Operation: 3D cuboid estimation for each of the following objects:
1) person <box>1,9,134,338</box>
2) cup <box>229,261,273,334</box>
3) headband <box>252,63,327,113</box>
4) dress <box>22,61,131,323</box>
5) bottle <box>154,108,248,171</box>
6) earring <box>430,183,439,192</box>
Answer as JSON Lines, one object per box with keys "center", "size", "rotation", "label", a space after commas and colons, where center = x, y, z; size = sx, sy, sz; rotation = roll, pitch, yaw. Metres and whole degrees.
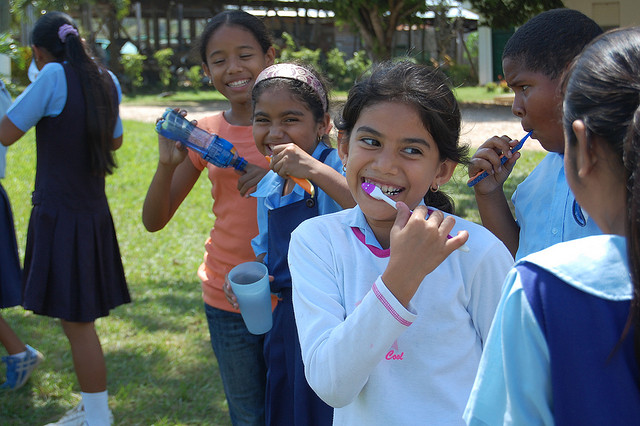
{"center": [-1.772, -0.288, 4.504], "size": [0.753, 2.132, 0.815], "rotation": [-4, 11, -29], "label": "person"}
{"center": [-0.334, 0.418, 3.279], "size": [0.199, 0.381, 0.262], "rotation": [-1, 0, -19], "label": "cup"}
{"center": [-0.159, -0.687, 3.553], "size": [0.402, 0.251, 0.146], "rotation": [1, 10, -3], "label": "headband"}
{"center": [-1.634, -0.100, 4.749], "size": [0.705, 1.675, 0.928], "rotation": [2, -6, -25], "label": "dress"}
{"center": [-0.659, -0.409, 3.587], "size": [0.529, 0.314, 0.095], "rotation": [5, 10, 17], "label": "bottle"}
{"center": [0.528, -0.122, 2.982], "size": [0.026, 0.007, 0.028], "rotation": [11, 52, 16], "label": "earring"}
